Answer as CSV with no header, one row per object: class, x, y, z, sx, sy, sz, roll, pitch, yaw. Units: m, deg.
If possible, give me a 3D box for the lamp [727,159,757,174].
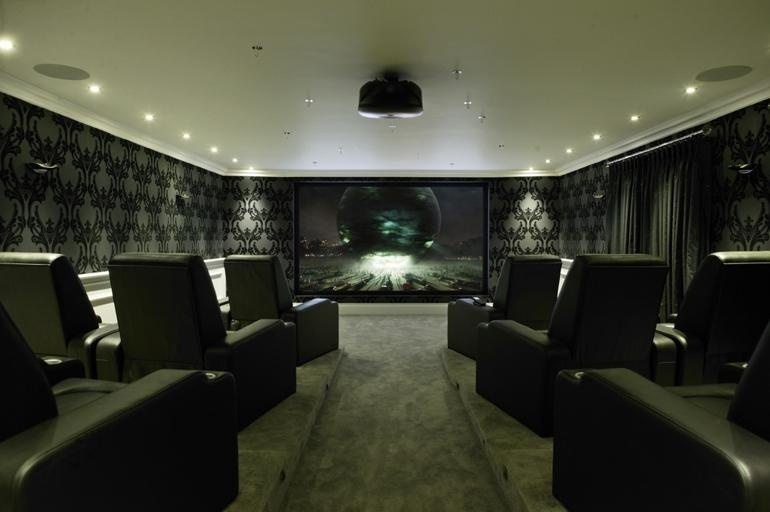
lamp,3.215,-0.797,4.303,0.112,0.075,0.187,-13,7,-28
